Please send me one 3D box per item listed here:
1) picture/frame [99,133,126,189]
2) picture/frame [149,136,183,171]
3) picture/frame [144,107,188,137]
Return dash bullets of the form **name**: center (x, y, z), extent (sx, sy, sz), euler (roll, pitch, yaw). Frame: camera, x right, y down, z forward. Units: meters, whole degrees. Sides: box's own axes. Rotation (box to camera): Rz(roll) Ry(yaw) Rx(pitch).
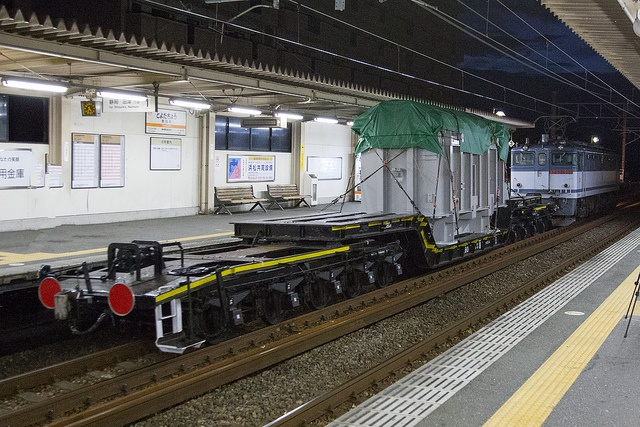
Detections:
- **picture/frame**: center (-8.353, -2.089, 17.370), extent (0.162, 2.082, 1.203), euler (8, 9, 21)
- **picture/frame**: center (-6.794, -2.649, 19.306), extent (2.000, 1.424, 0.198), euler (5, 4, 27)
- **picture/frame**: center (-6.837, -4.034, 19.244), extent (0.224, 1.108, 2.361), euler (11, 12, 23)
